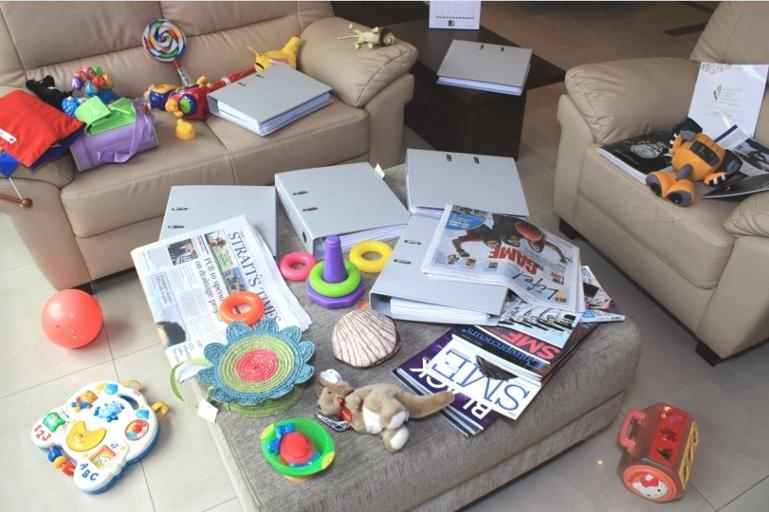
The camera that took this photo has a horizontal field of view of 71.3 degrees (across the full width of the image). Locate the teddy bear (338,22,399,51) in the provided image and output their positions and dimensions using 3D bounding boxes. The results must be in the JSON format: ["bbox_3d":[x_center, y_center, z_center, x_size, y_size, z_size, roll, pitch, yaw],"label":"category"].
[{"bbox_3d":[-0.075,-1.064,2.652,0.216,0.094,0.158,20,45,11],"label":"teddy bear"}]

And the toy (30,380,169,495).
[{"bbox_3d":[-1.008,0.610,1.928,0.394,0.113,0.365,25,51,23],"label":"toy"}]

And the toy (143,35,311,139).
[{"bbox_3d":[-0.814,-0.849,2.708,0.633,0.275,0.499,-36,65,-26],"label":"toy"}]

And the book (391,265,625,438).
[{"bbox_3d":[0.357,0.298,1.623,0.492,0.119,0.361,-33,51,-23],"label":"book"}]

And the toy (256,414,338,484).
[{"bbox_3d":[-0.232,0.507,1.433,0.166,0.055,0.163,-23,49,-20],"label":"toy"}]

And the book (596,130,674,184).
[{"bbox_3d":[1.057,-0.457,2.280,0.288,0.056,0.277,-29,46,-24],"label":"book"}]

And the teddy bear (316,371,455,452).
[{"bbox_3d":[0.003,0.421,1.520,0.400,0.223,0.204,-9,13,-8],"label":"teddy bear"}]

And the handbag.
[{"bbox_3d":[-1.107,-0.499,2.295,0.317,0.124,0.317,-20,73,-13],"label":"handbag"}]
